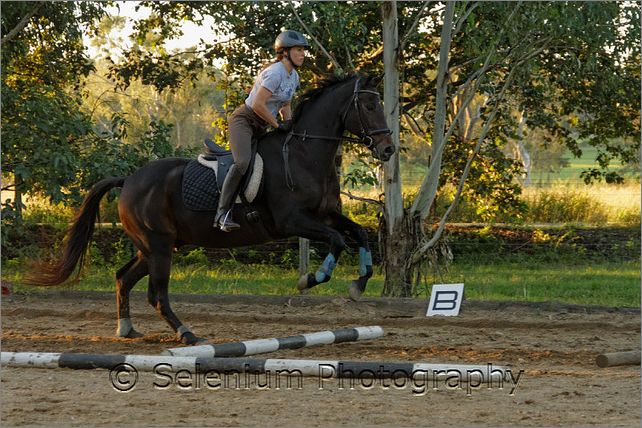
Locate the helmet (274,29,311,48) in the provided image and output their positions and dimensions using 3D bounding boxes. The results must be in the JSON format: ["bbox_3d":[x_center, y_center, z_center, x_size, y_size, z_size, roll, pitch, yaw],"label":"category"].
[{"bbox_3d":[-0.486,-2.903,15.065,0.495,0.185,0.291,-2,2,10],"label":"helmet"}]

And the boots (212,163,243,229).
[{"bbox_3d":[-1.507,-0.282,14.932,0.401,1.078,0.232,5,-1,-5],"label":"boots"}]
